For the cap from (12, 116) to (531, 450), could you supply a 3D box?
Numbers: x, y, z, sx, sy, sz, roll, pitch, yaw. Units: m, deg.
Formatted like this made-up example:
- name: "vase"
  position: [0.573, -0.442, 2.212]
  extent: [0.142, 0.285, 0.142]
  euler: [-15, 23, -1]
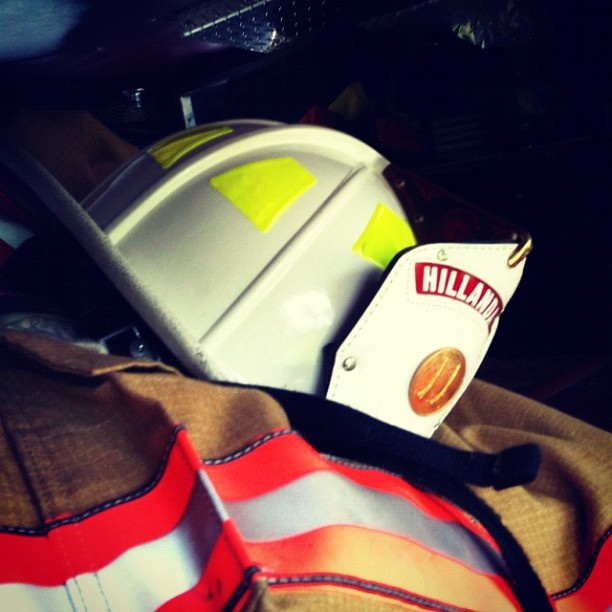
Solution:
- name: "cap"
  position: [-0.053, 0.000, 1.228]
  extent: [0.525, 0.974, 0.716]
  euler: [-58, 32, 9]
